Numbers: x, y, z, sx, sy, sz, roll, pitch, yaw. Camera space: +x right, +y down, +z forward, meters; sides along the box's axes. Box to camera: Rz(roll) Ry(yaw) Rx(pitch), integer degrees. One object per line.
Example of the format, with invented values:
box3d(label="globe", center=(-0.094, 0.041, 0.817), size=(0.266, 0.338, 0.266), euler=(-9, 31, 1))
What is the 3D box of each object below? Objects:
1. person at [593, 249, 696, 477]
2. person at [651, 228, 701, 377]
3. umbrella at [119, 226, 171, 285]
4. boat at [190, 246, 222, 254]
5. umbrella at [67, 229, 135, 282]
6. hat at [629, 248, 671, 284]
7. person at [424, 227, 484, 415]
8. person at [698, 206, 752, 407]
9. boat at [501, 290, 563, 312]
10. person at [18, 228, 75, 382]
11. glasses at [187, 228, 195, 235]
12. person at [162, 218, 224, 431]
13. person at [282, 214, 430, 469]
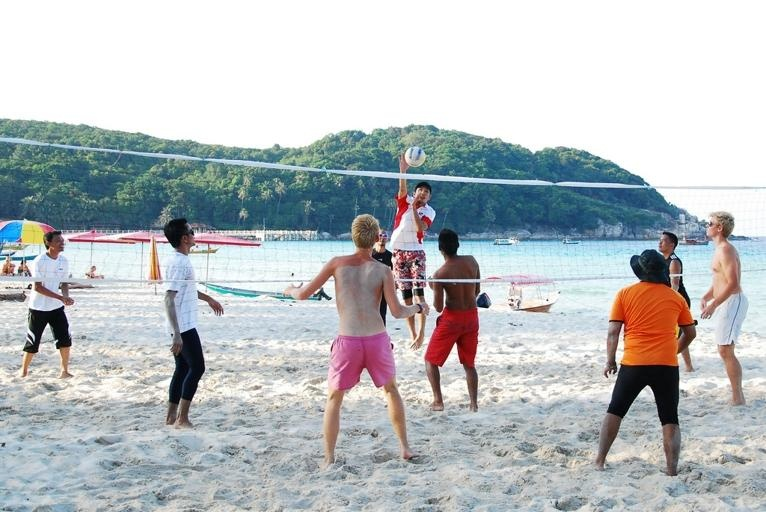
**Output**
box3d(label="person", center=(2.420, 0.969, 6.088), size=(0.973, 1.932, 0.651), euler=(1, -9, 29))
box3d(label="person", center=(3.646, 0.499, 8.629), size=(0.662, 1.723, 0.526), euler=(-5, 22, 21))
box3d(label="umbrella", center=(-6.328, 0.039, 18.157), size=(1.545, 1.474, 1.498), euler=(4, 8, 26))
box3d(label="boat", center=(-8.629, -0.313, 32.185), size=(0.454, 0.283, 2.005), euler=(3, 6, 10))
box3d(label="umbrella", center=(-11.258, 0.019, 26.608), size=(1.931, 1.150, 1.655), euler=(1, -3, -8))
box3d(label="hat", center=(2.424, 0.051, 6.001), size=(0.400, 0.174, 0.406), euler=(6, 37, 5))
box3d(label="person", center=(0.752, 0.723, 7.260), size=(0.603, 2.021, 0.626), euler=(2, 9, 6))
box3d(label="person", center=(3.807, 0.589, 7.376), size=(0.530, 2.135, 0.753), euler=(5, 9, 24))
box3d(label="boat", center=(3.632, 1.137, 15.614), size=(1.475, 0.387, 0.500), euler=(-11, 29, -28))
box3d(label="person", center=(-4.121, 0.629, 8.066), size=(0.605, 1.831, 1.435), euler=(-3, 9, -26))
box3d(label="glasses", center=(-1.982, -0.246, 6.843), size=(0.048, 0.056, 0.034), euler=(-6, -1, -36))
box3d(label="person", center=(-1.999, 0.685, 6.860), size=(0.536, 2.128, 0.611), euler=(-2, 9, -18))
box3d(label="person", center=(-0.226, 0.782, 6.122), size=(1.086, 2.286, 0.406), euler=(1, 9, 1))
